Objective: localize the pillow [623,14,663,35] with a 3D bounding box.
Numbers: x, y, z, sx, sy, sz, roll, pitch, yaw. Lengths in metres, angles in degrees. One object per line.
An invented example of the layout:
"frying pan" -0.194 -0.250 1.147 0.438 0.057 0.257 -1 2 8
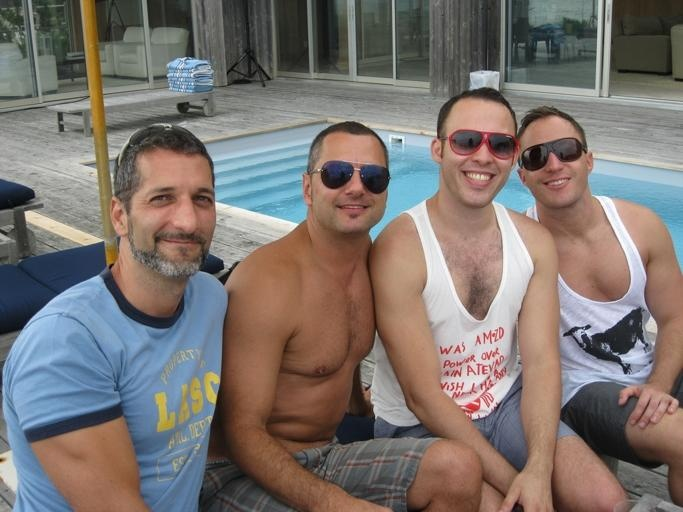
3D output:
"pillow" 5.539 -5.474 12.139 1.149 0.393 0.440 -20 51 -41

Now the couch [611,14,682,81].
"couch" 5.697 -4.980 12.106 0.884 1.454 1.165 -11 16 -32
